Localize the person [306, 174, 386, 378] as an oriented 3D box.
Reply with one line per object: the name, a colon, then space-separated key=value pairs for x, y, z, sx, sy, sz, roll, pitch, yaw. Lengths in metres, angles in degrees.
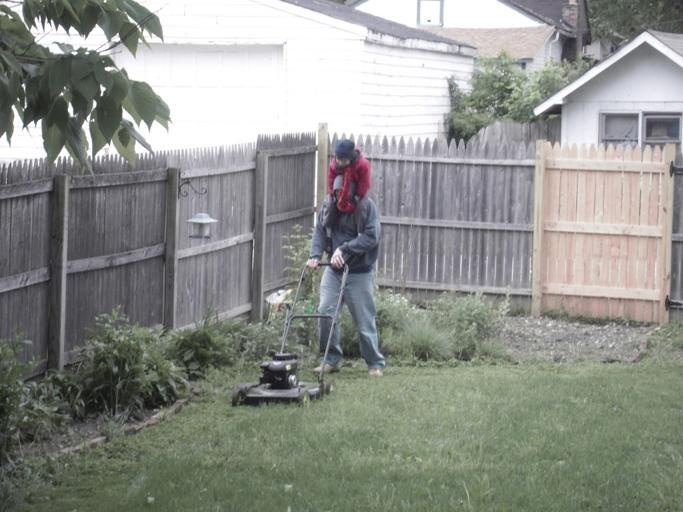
person: x=0.055 y=0.211 z=10.010 sx=0.762 sy=2.574 sz=0.741 roll=0 pitch=14 yaw=-3

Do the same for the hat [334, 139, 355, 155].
hat: x=0.041 y=-1.223 z=9.875 sx=0.222 sy=0.173 sz=0.249 roll=0 pitch=11 yaw=-2

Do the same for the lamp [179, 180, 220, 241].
lamp: x=-1.762 y=-0.564 z=10.501 sx=0.406 sy=0.815 sz=0.348 roll=2 pitch=-19 yaw=-14

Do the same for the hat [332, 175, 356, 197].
hat: x=0.023 y=-0.784 z=9.842 sx=0.166 sy=0.282 sz=0.241 roll=5 pitch=6 yaw=32

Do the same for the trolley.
trolley: x=-0.448 y=0.777 z=9.519 sx=0.765 sy=1.711 sz=2.110 roll=-3 pitch=-6 yaw=18
